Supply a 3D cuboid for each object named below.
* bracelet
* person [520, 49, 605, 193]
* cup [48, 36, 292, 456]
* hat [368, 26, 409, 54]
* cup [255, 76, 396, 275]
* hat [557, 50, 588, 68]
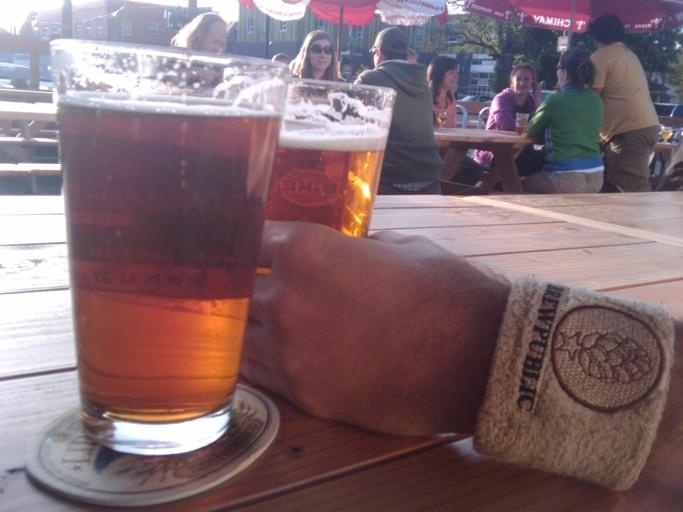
[{"bbox_3d":[0.178,0.095,0.438,0.150,0.139,0.054,12,-12,4],"label":"bracelet"},{"bbox_3d":[1.872,-1.111,5.006,0.780,1.132,0.803,0,12,24],"label":"person"},{"bbox_3d":[-0.142,0.004,0.480,0.190,0.277,0.187,3,0,0],"label":"cup"},{"bbox_3d":[0.373,-1.746,4.696,0.237,0.178,0.306,-20,42,-24],"label":"hat"},{"bbox_3d":[-0.022,-0.095,0.722,0.163,0.226,0.156,2,19,-1],"label":"cup"},{"bbox_3d":[1.894,-1.606,4.681,0.222,0.150,0.210,-1,10,11],"label":"hat"}]
